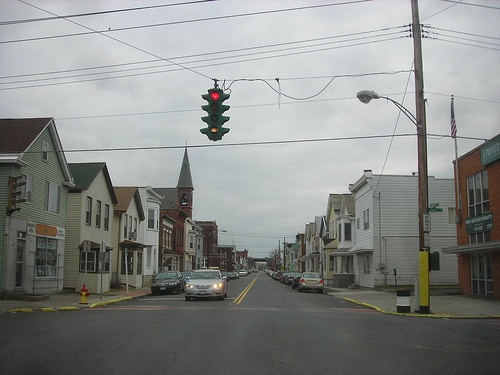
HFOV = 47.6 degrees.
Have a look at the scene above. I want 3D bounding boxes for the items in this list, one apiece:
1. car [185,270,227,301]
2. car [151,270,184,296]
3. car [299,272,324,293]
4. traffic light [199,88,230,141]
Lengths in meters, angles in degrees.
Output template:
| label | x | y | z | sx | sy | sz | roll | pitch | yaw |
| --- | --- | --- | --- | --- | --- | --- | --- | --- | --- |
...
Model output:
| label | x | y | z | sx | sy | sz | roll | pitch | yaw |
| --- | --- | --- | --- | --- | --- | --- | --- | --- | --- |
| car | -2.392 | 5.238 | 31.026 | 1.957 | 1.862 | 2.093 | -2 | -17 | 6 |
| car | -5.512 | 6.353 | 38.137 | 1.682 | 1.825 | 3.125 | -1 | -18 | 1 |
| car | 4.481 | 6.995 | 41.941 | 1.250 | 1.045 | 3.095 | 0 | -5 | 1 |
| traffic light | -1.304 | -2.691 | 21.269 | 1.015 | 2.191 | 0.697 | 1 | -15 | -5 |
